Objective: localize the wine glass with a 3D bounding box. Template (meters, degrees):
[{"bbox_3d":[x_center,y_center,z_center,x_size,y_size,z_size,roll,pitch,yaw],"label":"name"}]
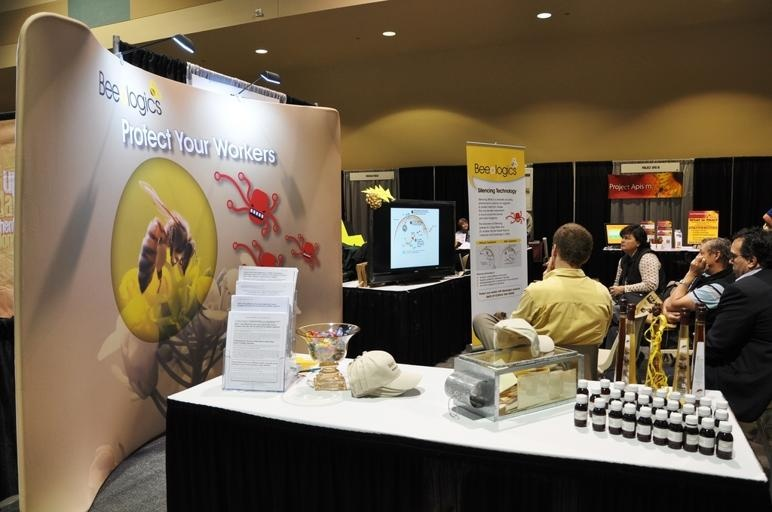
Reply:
[{"bbox_3d":[-0.314,0.488,2.719,0.299,0.257,0.307,-4,4,-44],"label":"wine glass"}]

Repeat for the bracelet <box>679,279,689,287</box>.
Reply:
[{"bbox_3d":[2.655,0.240,4.672,0.066,0.050,0.072,11,-14,-11],"label":"bracelet"}]

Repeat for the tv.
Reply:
[{"bbox_3d":[0.242,-0.154,5.515,0.126,0.672,0.885,-3,-2,44],"label":"tv"}]

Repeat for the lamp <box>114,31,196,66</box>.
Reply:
[{"bbox_3d":[-1.373,-1.190,3.156,0.424,0.180,0.312,12,18,-19],"label":"lamp"}]
